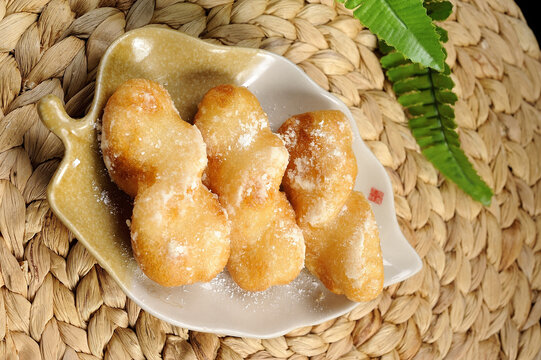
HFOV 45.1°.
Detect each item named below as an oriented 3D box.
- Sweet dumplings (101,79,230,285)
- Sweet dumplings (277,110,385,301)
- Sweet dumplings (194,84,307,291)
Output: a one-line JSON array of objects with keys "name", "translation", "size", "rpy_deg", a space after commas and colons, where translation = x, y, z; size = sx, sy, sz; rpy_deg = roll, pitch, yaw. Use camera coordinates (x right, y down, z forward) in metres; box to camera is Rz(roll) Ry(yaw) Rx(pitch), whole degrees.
[{"name": "Sweet dumplings", "translation": [-0.254, 0.031, 1.477], "size": [0.230, 0.158, 0.471], "rpy_deg": [-15, 93, -26]}, {"name": "Sweet dumplings", "translation": [0.123, 0.063, 1.551], "size": [0.221, 0.143, 0.447], "rpy_deg": [-9, 87, -19]}, {"name": "Sweet dumplings", "translation": [-0.056, 0.024, 1.508], "size": [0.212, 0.160, 0.468], "rpy_deg": [-15, 93, -29]}]
